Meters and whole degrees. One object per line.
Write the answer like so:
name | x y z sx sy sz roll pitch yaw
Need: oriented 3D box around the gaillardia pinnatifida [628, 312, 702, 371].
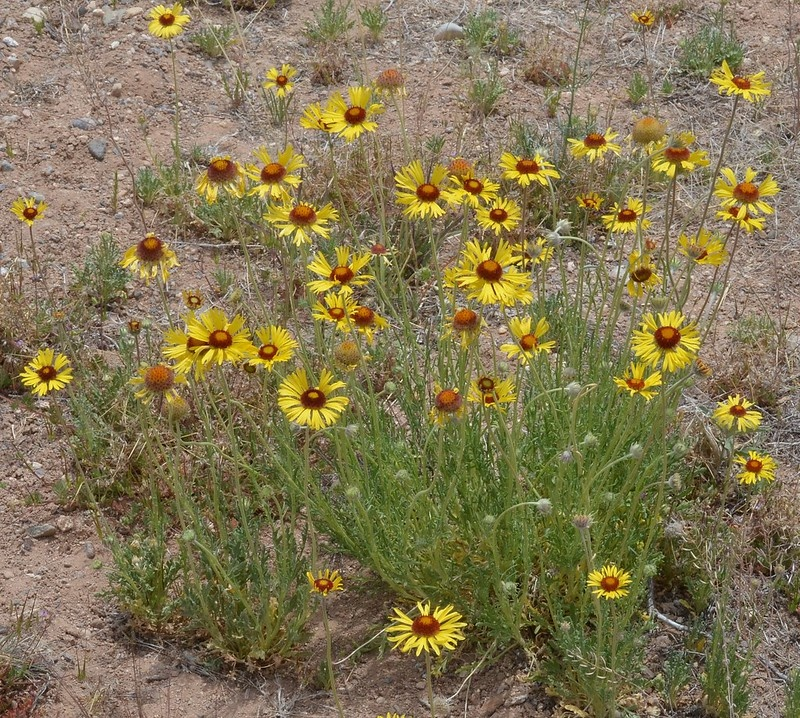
gaillardia pinnatifida | 1.033 -0.047 3.730 0.238 0.087 0.262 -33 65 -3

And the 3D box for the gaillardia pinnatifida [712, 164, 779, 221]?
gaillardia pinnatifida | 1.675 -0.784 4.532 0.299 0.136 0.366 -6 22 14
